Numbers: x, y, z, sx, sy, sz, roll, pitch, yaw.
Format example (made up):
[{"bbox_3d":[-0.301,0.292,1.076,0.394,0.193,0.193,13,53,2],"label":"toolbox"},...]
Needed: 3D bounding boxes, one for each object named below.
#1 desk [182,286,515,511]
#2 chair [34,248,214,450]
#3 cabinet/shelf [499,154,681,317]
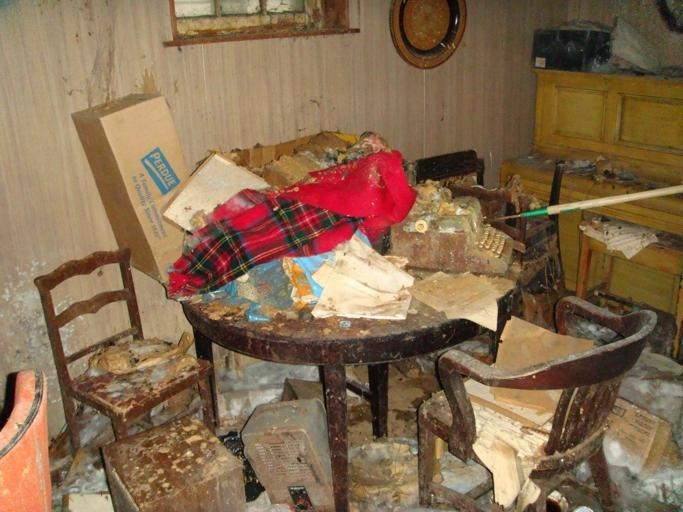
[{"bbox_3d":[0.053,0.337,2.972,1.239,1.030,1.344,12,25,31],"label":"desk"},{"bbox_3d":[-1.317,0.591,3.326,0.738,1.150,0.997,-18,28,-37],"label":"chair"},{"bbox_3d":[1.887,-0.126,4.079,0.374,0.751,1.126,-11,25,-21],"label":"cabinet/shelf"}]
